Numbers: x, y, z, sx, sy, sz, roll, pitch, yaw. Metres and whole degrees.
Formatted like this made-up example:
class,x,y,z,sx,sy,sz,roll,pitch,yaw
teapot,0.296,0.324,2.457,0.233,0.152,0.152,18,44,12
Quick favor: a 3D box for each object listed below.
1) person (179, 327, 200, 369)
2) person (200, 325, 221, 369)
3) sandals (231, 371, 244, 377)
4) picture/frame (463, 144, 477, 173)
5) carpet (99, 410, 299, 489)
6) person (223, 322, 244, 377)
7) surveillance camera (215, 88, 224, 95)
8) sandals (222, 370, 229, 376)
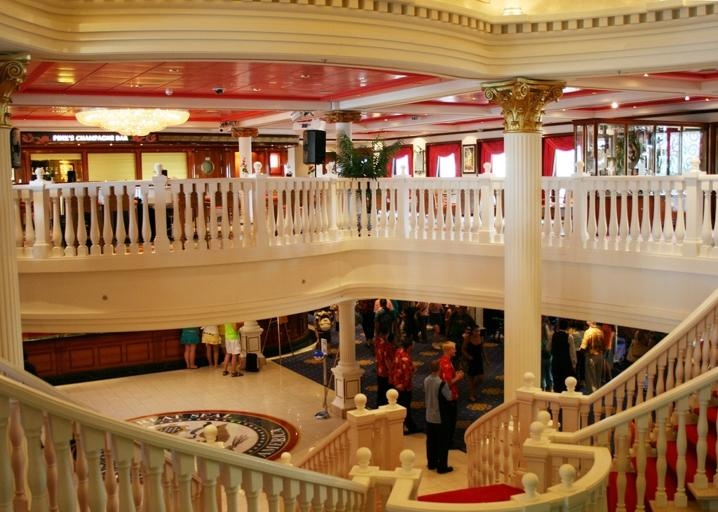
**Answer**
class,x,y,z,sx,sy,sz,roll,pitch,yaw
person,-4.191,2.294,14.475,0.494,1.127,0.724,-5,8,-16
person,-3.639,2.247,14.424,0.460,1.220,1.049,-5,8,-14
sandals,-2.919,2.858,13.913,0.263,0.107,0.117,-2,5,-17
picture/frame,3.807,-3.357,19.670,0.093,1.152,0.890,-3,7,-28
carpet,-2.795,3.190,10.192,3.320,0.059,3.360,5,-2,27
person,-3.040,2.193,13.853,0.488,1.429,1.209,-5,8,-14
surveillance camera,-2.578,-3.059,10.617,0.168,0.041,0.166,0,2,19
sandals,-3.217,2.846,13.980,0.077,0.079,0.208,1,6,13
